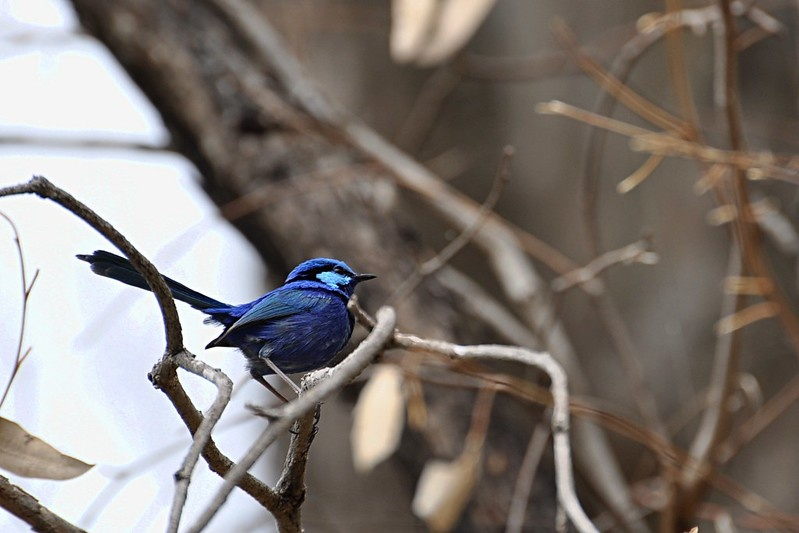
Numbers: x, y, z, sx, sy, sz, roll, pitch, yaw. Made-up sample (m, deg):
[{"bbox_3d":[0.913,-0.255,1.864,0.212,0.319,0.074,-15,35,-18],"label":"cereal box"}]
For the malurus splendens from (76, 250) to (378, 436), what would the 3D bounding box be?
[{"bbox_3d":[-0.805,0.314,5.731,1.472,0.801,0.429,2,-25,-19],"label":"malurus splendens"}]
